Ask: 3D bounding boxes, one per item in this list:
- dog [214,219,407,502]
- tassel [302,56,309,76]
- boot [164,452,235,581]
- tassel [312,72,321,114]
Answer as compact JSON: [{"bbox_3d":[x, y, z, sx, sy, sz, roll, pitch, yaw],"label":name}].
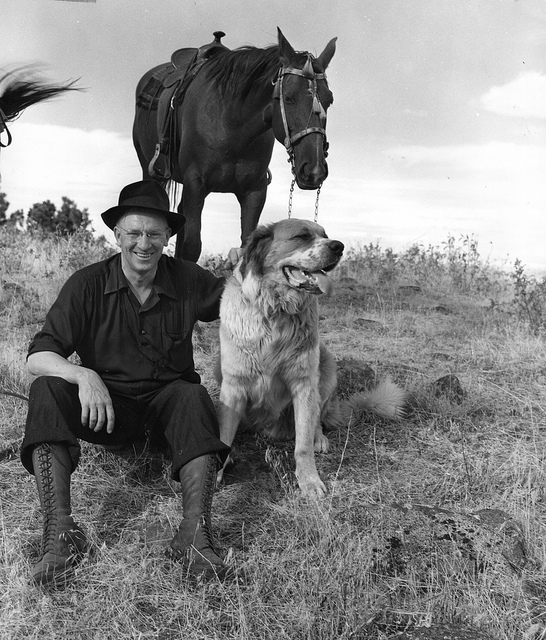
[{"bbox_3d":[0.224,0.102,4.807,1.375,1.995,1.564,3,16,12],"label":"dog"},{"bbox_3d":[0.302,-2.286,5.673,0.042,0.113,0.088,-5,10,-31],"label":"tassel"},{"bbox_3d":[-0.413,1.019,3.265,0.319,0.496,0.563,-1,9,-10],"label":"boot"},{"bbox_3d":[0.391,-2.060,5.667,0.073,0.384,0.198,0,8,-4],"label":"tassel"}]
